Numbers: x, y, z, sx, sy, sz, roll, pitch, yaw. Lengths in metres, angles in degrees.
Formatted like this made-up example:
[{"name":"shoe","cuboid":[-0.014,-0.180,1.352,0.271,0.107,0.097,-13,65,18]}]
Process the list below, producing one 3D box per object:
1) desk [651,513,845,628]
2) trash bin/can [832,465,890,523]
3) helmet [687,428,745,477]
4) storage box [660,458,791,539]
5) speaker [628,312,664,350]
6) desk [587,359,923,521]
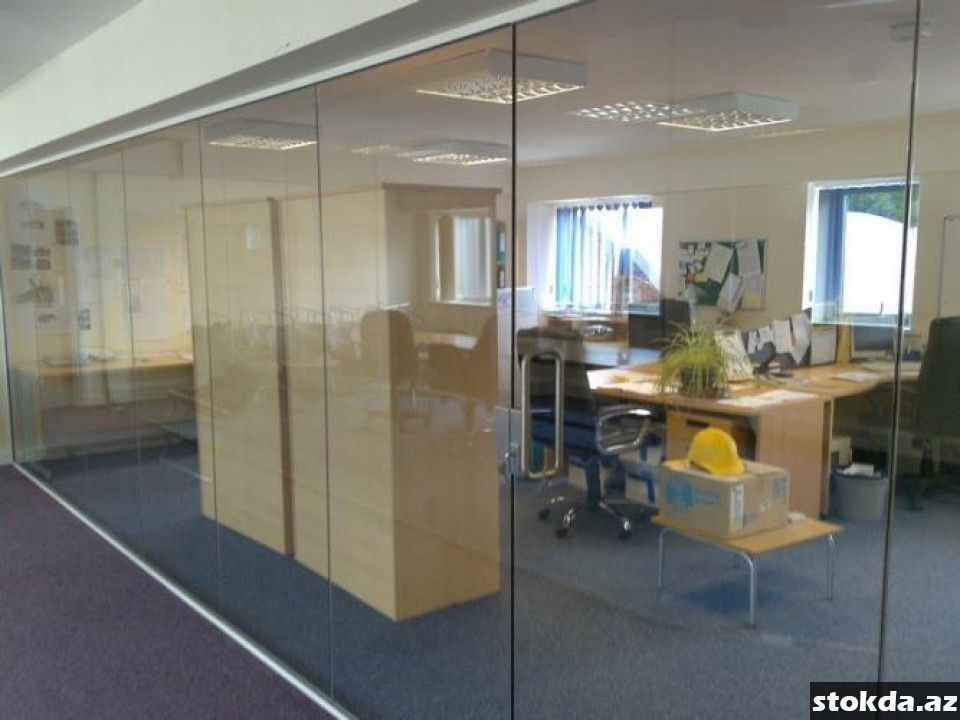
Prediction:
[{"name":"desk","cuboid":[0.675,0.471,1.838,0.292,0.178,0.311,-3,3,-31]},{"name":"trash bin/can","cuboid":[0.848,0.287,1.690,0.125,0.099,0.116,0,0,-41]},{"name":"helmet","cuboid":[0.621,0.230,1.945,0.091,0.085,0.128,-10,17,-40]},{"name":"storage box","cuboid":[0.648,0.352,1.999,0.266,0.159,0.269,-2,5,-27]},{"name":"speaker","cuboid":[0.438,-0.082,1.962,0.046,0.094,0.099,0,0,-37]},{"name":"desk","cuboid":[0.699,0.128,1.784,0.400,0.212,0.406,6,10,45]}]
